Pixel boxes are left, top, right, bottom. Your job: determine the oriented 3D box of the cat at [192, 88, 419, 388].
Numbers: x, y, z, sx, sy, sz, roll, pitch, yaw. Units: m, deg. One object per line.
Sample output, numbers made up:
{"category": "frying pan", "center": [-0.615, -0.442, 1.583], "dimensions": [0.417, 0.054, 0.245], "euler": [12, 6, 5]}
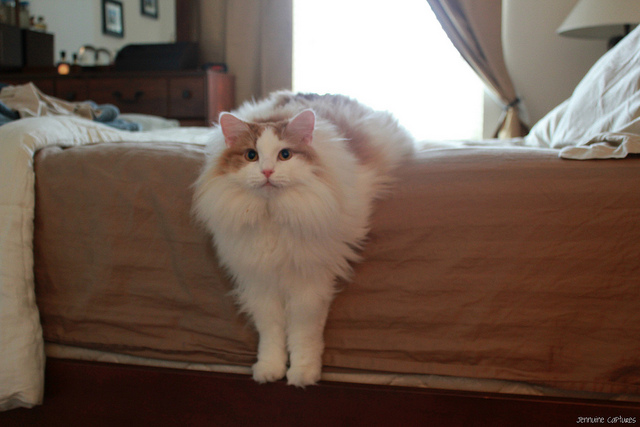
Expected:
{"category": "cat", "center": [-0.051, 0.009, 2.319], "dimensions": [0.626, 0.501, 1.092], "euler": [5, 58, 9]}
